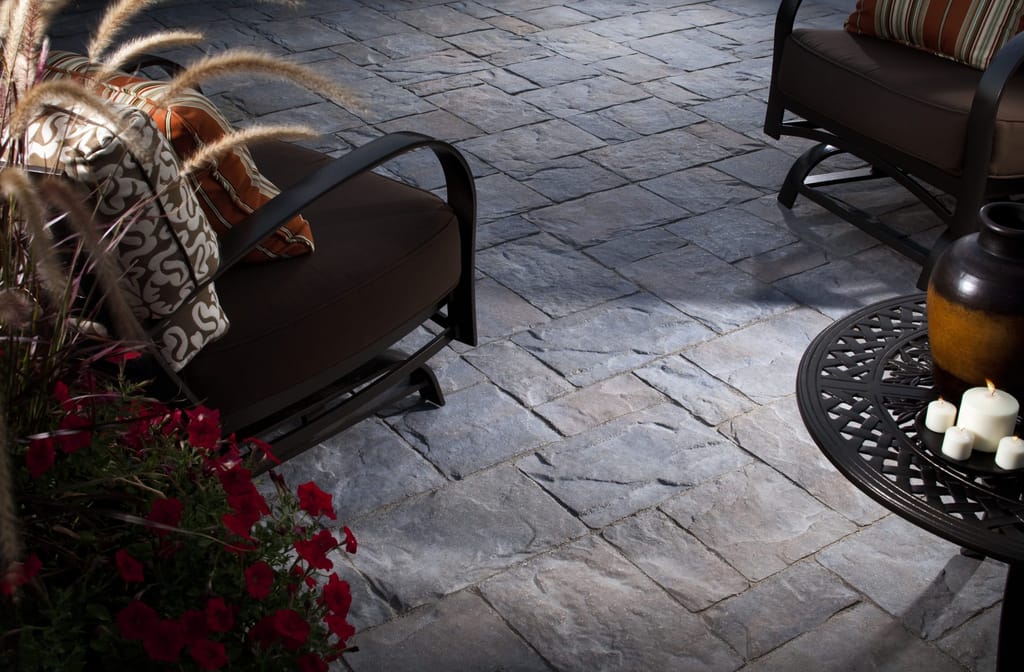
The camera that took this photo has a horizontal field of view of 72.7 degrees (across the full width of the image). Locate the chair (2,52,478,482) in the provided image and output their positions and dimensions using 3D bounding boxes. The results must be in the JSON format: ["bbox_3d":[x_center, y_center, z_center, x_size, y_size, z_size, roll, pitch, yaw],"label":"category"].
[{"bbox_3d":[-0.605,-0.194,2.273,1.231,0.918,1.267,36,48,27],"label":"chair"}]
